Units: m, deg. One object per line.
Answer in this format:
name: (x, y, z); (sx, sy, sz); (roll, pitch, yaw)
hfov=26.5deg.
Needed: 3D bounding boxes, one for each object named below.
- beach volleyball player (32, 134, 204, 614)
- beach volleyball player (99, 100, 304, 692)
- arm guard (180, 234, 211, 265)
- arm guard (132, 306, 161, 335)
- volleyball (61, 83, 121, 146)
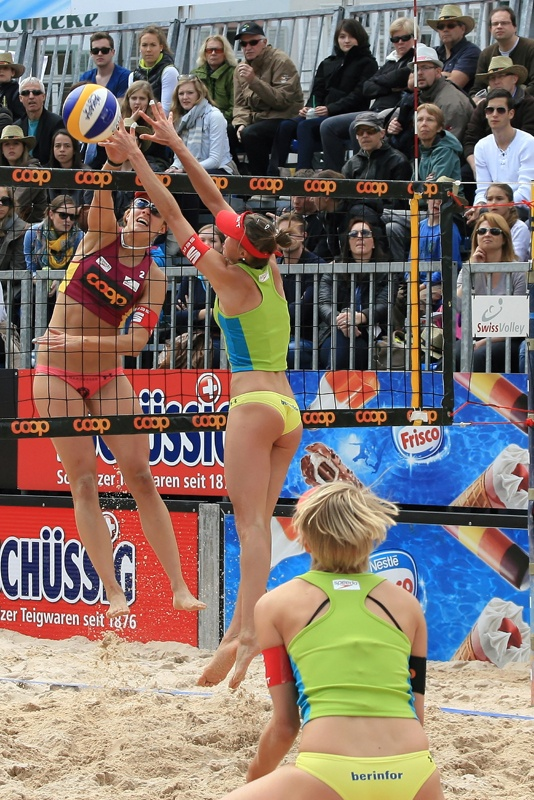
beach volleyball player: (-0.736, -0.179, 5.141); (0.666, 2.276, 0.798); (1, 15, -18)
beach volleyball player: (-0.142, -0.094, 4.656); (0.666, 2.676, 0.782); (-1, 15, -27)
arm guard: (-0.284, -0.596, 4.553); (0.096, 0.096, 0.123); (42, -5, -2)
arm guard: (-0.562, -0.372, 5.308); (0.116, 0.125, 0.114); (3, 4, -9)
volleyball: (-0.710, -1.189, 4.739); (0.240, 0.260, 0.289); (-15, 41, -31)
